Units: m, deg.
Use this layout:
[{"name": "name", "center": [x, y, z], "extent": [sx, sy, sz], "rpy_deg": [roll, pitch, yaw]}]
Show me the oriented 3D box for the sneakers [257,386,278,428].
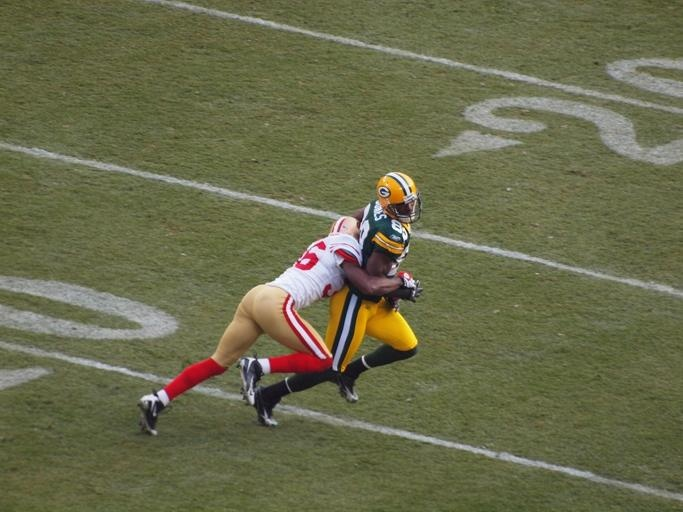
[{"name": "sneakers", "center": [-0.703, 1.441, 12.819], "extent": [0.284, 0.164, 0.346], "rpy_deg": [-1, 90, 10]}]
